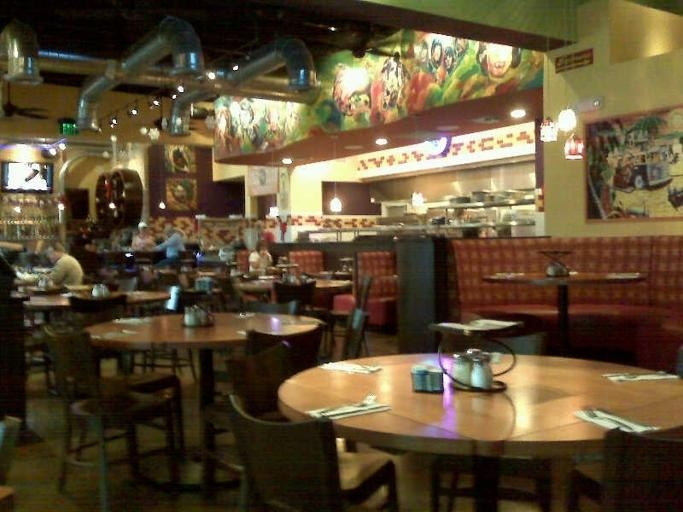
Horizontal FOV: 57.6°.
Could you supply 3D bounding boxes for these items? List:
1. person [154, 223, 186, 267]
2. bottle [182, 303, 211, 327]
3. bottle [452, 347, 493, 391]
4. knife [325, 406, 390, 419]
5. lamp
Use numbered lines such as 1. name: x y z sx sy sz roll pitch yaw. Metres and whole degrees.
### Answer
1. person: -2.495 -0.090 8.924 0.431 0.714 0.357 -3 -7 -12
2. bottle: -0.768 0.316 3.279 0.130 0.086 0.097 4 3 45
3. bottle: 0.474 0.412 2.271 0.108 0.136 0.146 2 6 19
4. knife: 0.048 0.514 2.060 0.224 0.026 0.076 -2 2 -22
5. lamp: 1.966 -1.485 5.437 0.445 1.328 0.888 -1 1 19
